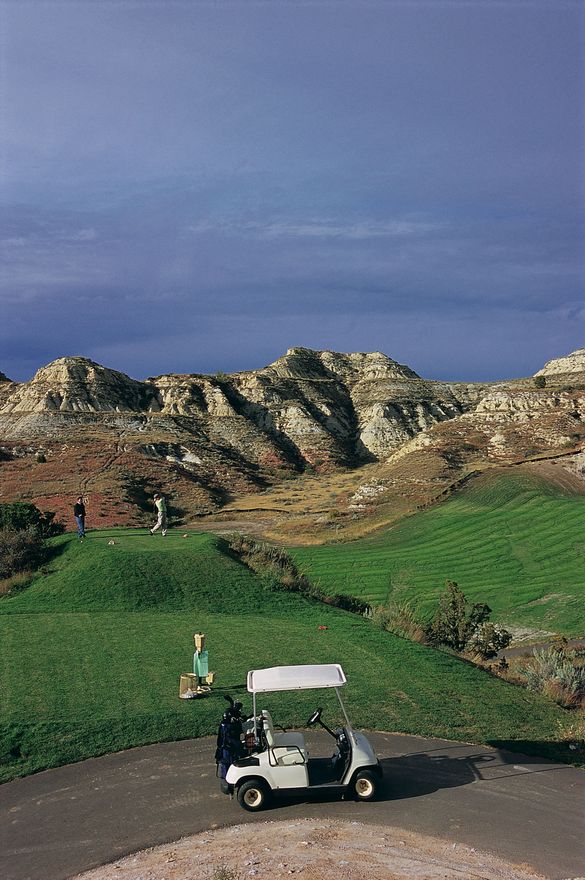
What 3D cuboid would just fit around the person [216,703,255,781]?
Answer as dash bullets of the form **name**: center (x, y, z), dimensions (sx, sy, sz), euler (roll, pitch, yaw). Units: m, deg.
- **person**: center (-0.960, 4.976, 13.556), dimensions (0.510, 1.393, 0.755), euler (2, 4, -4)
